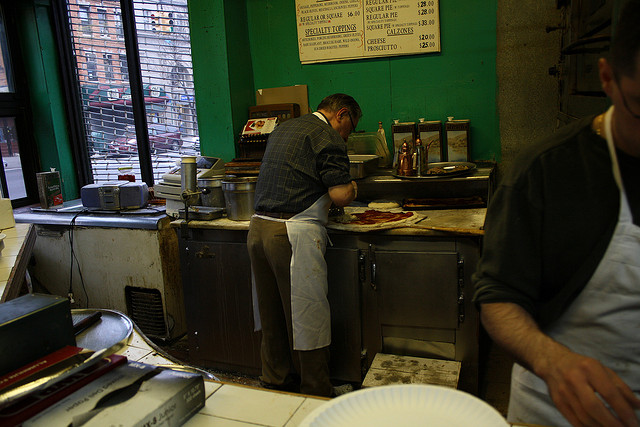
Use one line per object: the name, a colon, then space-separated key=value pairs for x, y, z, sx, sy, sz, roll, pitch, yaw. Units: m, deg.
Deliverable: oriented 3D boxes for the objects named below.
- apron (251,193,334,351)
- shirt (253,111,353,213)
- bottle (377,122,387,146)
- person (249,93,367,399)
apron: x=-0.049 y=0.362 z=3.121 sx=0.364 sy=0.945 sz=0.252 roll=-8 pitch=12 yaw=-11
shirt: x=-0.098 y=-0.299 z=3.126 sx=0.681 sy=0.631 sz=0.382 roll=22 pitch=18 yaw=37
bottle: x=0.515 y=-0.671 z=4.154 sx=0.061 sy=0.174 sz=0.108 roll=-4 pitch=11 yaw=7
person: x=-0.106 y=0.274 z=3.173 sx=0.645 sy=1.760 sz=0.423 roll=-11 pitch=13 yaw=-25
